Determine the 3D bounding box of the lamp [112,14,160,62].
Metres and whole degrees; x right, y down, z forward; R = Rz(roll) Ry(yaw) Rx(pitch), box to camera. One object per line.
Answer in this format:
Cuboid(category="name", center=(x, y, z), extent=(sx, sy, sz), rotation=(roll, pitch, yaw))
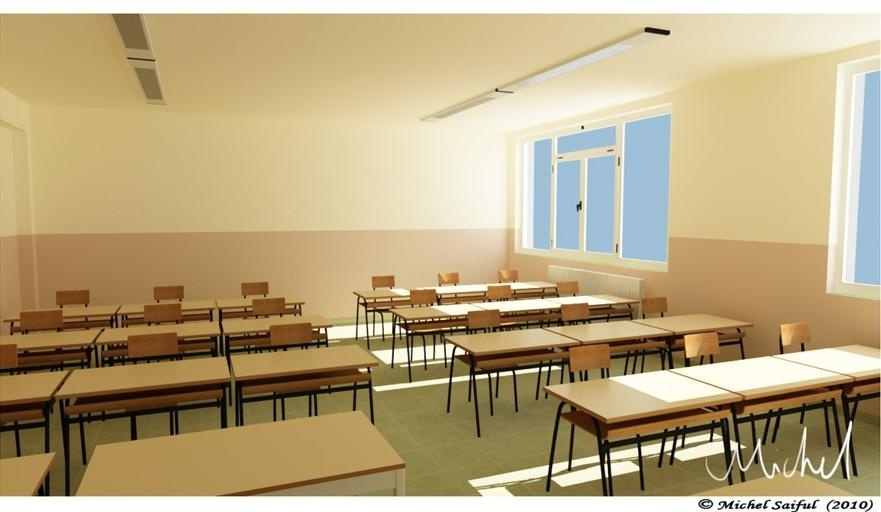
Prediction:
Cuboid(category="lamp", center=(-3.737, -2.666, 6.797), extent=(0.328, 0.149, 1.297), rotation=(-2, 2, -22))
